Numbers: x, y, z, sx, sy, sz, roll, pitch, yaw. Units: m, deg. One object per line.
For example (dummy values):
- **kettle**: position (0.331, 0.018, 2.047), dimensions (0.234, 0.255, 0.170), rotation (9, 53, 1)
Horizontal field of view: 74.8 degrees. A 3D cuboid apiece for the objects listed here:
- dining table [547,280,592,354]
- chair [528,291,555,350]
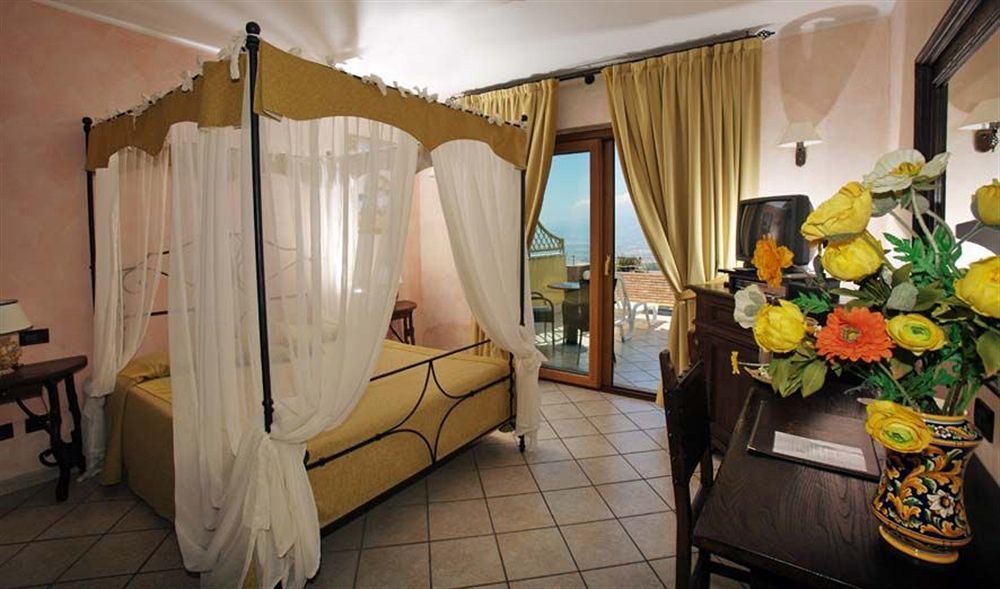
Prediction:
- **dining table**: position (0.732, 0.184, 6.891), dimensions (0.540, 0.577, 0.521), rotation (1, 20, -31)
- **chair**: position (0.429, 0.263, 7.037), dimensions (0.352, 0.552, 0.324), rotation (-7, 0, 0)
